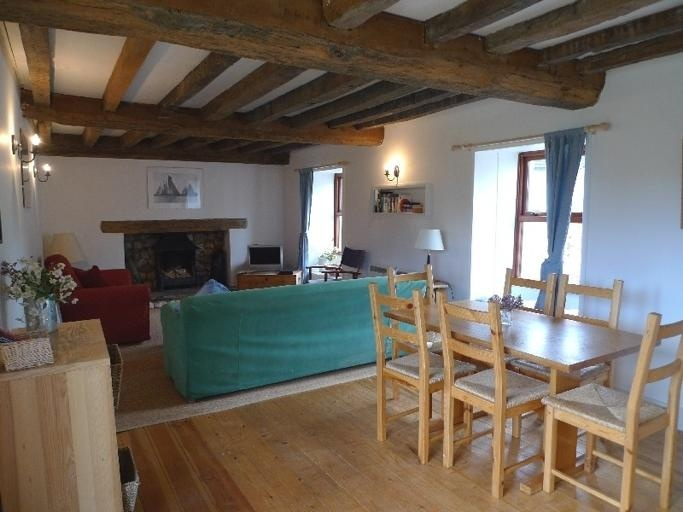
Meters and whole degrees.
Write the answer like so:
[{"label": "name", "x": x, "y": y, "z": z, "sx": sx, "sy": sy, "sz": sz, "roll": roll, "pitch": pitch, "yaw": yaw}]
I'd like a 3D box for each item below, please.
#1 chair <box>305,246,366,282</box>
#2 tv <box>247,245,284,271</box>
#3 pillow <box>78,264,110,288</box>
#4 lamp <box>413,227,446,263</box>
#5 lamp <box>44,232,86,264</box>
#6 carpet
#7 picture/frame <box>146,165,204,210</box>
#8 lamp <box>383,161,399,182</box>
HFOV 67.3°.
[{"label": "chair", "x": -0.060, "y": 0.112, "z": 8.032, "sx": 0.632, "sy": 0.937, "sz": 0.680, "roll": -1, "pitch": 3, "yaw": -33}, {"label": "tv", "x": -1.401, "y": 0.046, "z": 9.453, "sx": 0.750, "sy": 0.536, "sz": 0.405, "roll": 1, "pitch": 6, "yaw": 0}, {"label": "pillow", "x": -2.958, "y": 0.285, "z": 6.095, "sx": 0.294, "sy": 0.281, "sz": 0.088, "roll": -10, "pitch": -9, "yaw": 15}, {"label": "lamp", "x": 1.105, "y": -0.105, "z": 6.353, "sx": 0.336, "sy": 0.460, "sz": 0.437, "roll": 6, "pitch": 14, "yaw": 23}, {"label": "lamp", "x": -3.908, "y": -0.110, "z": 7.196, "sx": 0.455, "sy": 0.454, "sz": 0.453, "roll": -11, "pitch": 12, "yaw": -14}, {"label": "carpet", "x": -0.985, "y": 1.161, "z": 5.209, "sx": 2.390, "sy": 0.038, "sz": 1.551, "roll": -5, "pitch": 13, "yaw": -24}, {"label": "picture/frame", "x": -2.949, "y": -1.203, "z": 8.955, "sx": 0.800, "sy": 0.591, "sz": 0.029, "roll": -5, "pitch": 9, "yaw": -35}, {"label": "lamp", "x": 0.692, "y": -1.147, "z": 7.125, "sx": 0.092, "sy": 0.270, "sz": 0.339, "roll": -6, "pitch": 14, "yaw": -24}]
